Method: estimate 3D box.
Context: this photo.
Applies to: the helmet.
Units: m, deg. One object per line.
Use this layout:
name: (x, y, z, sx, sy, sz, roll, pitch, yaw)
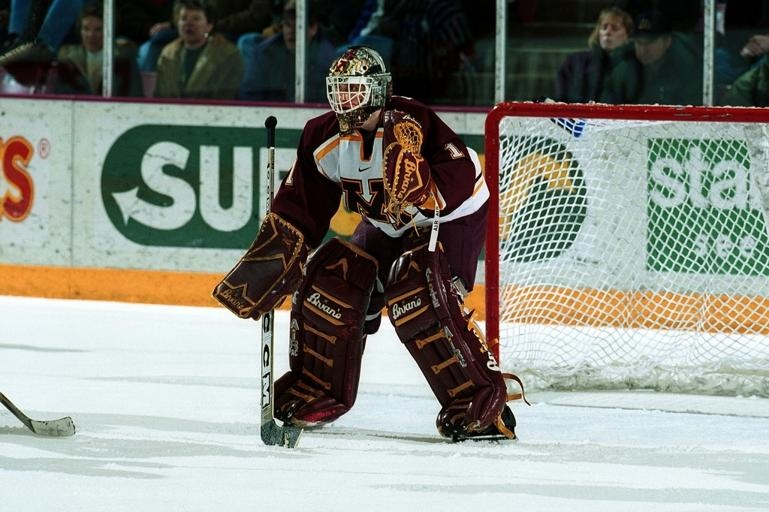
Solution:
helmet: (-0.140, -0.883, 6.184, 0.265, 0.293, 0.347, -2, 1, 36)
